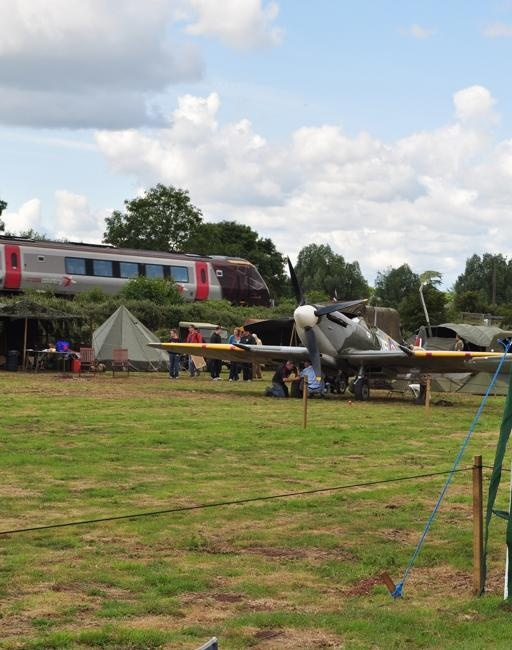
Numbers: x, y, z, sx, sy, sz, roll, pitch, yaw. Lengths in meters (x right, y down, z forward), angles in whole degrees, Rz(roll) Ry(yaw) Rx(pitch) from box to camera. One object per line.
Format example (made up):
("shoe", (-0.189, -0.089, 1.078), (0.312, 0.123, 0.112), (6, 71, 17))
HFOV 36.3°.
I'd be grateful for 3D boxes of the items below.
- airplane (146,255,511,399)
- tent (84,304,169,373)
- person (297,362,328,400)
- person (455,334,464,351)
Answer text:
("airplane", (1.361, 0.208, 23.964), (9.050, 3.445, 14.735), (0, -1, -8))
("tent", (-4.559, 0.469, 27.837), (2.932, 1.227, 2.603), (0, -1, -6))
("person", (1.472, 1.379, 19.446), (1.065, 0.866, 0.395), (2, -12, -36))
("person", (5.712, 0.483, 21.764), (0.264, 0.409, 0.824), (-2, -21, 14))
